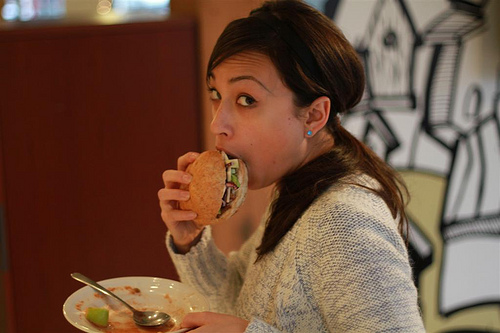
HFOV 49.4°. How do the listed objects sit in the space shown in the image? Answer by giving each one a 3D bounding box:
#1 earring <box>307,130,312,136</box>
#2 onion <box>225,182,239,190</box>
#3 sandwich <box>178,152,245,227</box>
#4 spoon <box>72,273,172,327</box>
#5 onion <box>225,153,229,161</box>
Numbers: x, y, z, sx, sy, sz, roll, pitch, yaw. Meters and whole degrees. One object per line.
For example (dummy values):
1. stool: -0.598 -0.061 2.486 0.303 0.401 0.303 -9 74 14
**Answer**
1. earring: 0.321 -0.185 2.926 0.023 0.027 0.015 2 -2 6
2. onion: -0.096 0.106 2.903 0.074 0.024 0.021 12 45 -16
3. sandwich: -0.195 0.044 3.020 0.213 0.424 0.396 -21 63 -37
4. spoon: -0.672 0.711 2.864 0.639 0.079 0.154 34 32 21
5. onion: -0.125 -0.054 2.913 0.019 0.035 0.026 -4 11 -3
